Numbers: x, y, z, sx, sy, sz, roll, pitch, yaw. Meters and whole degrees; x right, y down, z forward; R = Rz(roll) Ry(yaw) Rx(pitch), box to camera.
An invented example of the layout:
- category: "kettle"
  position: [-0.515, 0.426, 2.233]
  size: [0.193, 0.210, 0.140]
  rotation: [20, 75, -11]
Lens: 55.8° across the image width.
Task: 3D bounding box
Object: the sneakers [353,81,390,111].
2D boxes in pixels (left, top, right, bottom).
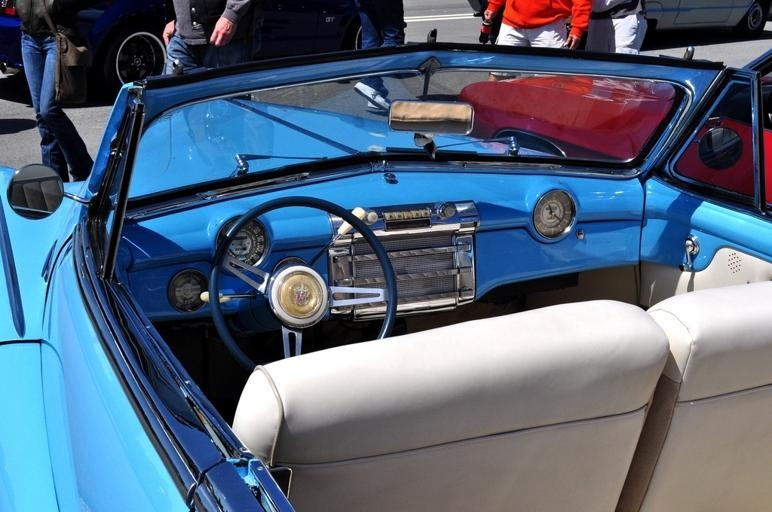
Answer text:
- category: "sneakers"
  position: [-0.065, -0.685, 3.191]
  size: [0.063, 0.082, 0.199]
  rotation: [-25, -50, 24]
